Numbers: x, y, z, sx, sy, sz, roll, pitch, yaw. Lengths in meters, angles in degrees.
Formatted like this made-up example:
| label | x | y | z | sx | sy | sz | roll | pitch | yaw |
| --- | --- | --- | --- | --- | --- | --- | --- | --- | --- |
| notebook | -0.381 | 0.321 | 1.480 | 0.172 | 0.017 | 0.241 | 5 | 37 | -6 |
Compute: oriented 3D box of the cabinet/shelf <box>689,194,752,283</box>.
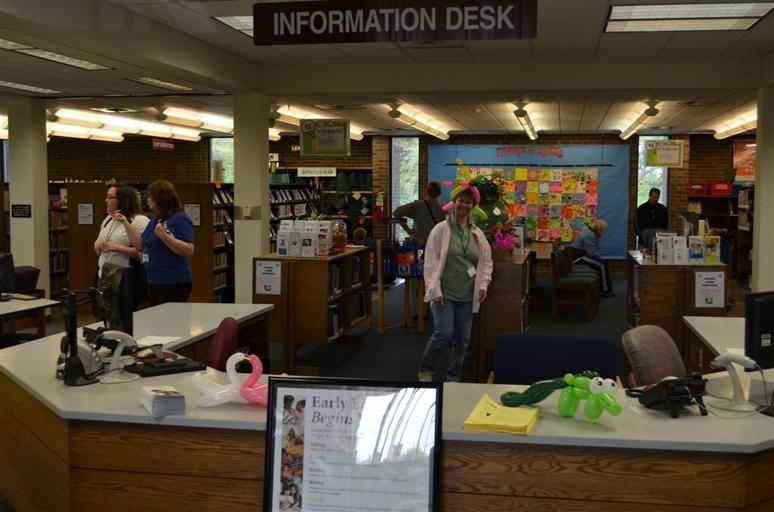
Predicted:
| label | x | y | z | sx | sy | sz | roll | pitch | yaw |
| --- | --- | --- | --- | --- | --- | --- | --- | --- | --- |
| cabinet/shelf | 6.674 | -0.356 | 11.293 | 0.654 | 1.886 | 2.069 | 4 | 7 | 8 |

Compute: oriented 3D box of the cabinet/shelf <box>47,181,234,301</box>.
| label | x | y | z | sx | sy | sz | roll | pitch | yaw |
| --- | --- | --- | --- | --- | --- | --- | --- | --- | --- |
| cabinet/shelf | -3.204 | -0.207 | 7.703 | 2.244 | 1.817 | 0.714 | 0 | 1 | -1 |

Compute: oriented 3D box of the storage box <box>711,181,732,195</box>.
| label | x | y | z | sx | sy | sz | roll | pitch | yaw |
| --- | --- | --- | --- | --- | --- | --- | --- | --- | --- |
| storage box | 8.450 | -1.691 | 14.449 | 0.469 | 0.330 | 0.136 | 1 | 6 | 21 |

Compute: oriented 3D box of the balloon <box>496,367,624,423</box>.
| label | x | y | z | sx | sy | sz | roll | pitch | yaw |
| --- | --- | --- | --- | --- | --- | --- | --- | --- | --- |
| balloon | 0.874 | 0.711 | 2.905 | 0.596 | 0.225 | 0.142 | -7 | -20 | 43 |

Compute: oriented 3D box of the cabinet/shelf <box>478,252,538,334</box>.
| label | x | y | z | sx | sy | sz | roll | pitch | yaw |
| --- | --- | --- | --- | --- | --- | --- | --- | --- | --- |
| cabinet/shelf | 1.425 | 0.455 | 6.814 | 0.414 | 0.729 | 1.289 | 0 | 6 | 13 |

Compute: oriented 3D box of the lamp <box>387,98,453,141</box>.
| label | x | y | z | sx | sy | sz | roll | pitch | yaw |
| --- | --- | --- | --- | --- | --- | --- | --- | --- | --- |
| lamp | 0.853 | -3.166 | 12.777 | 0.375 | 0.391 | 3.667 | 20 | 8 | 26 |

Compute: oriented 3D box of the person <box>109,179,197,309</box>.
| label | x | y | z | sx | sy | sz | roll | pitch | yaw |
| --- | --- | --- | --- | --- | --- | --- | --- | --- | --- |
| person | -2.317 | -0.127 | 5.839 | 0.751 | 1.247 | 0.492 | 4 | 8 | 44 |

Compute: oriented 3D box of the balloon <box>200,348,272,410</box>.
| label | x | y | z | sx | sy | sz | roll | pitch | yaw |
| --- | --- | --- | --- | --- | --- | --- | --- | --- | --- |
| balloon | -0.810 | 0.658 | 3.088 | 0.426 | 0.252 | 0.248 | -4 | -1 | -2 |

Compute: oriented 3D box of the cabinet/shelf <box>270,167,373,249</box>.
| label | x | y | z | sx | sy | sz | roll | pitch | yaw |
| --- | --- | --- | --- | --- | --- | --- | --- | --- | --- |
| cabinet/shelf | -1.380 | -1.116 | 12.397 | 2.278 | 2.052 | 0.748 | -1 | 6 | -1 |

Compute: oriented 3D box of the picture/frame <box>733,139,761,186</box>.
| label | x | y | z | sx | sy | sz | roll | pitch | yaw |
| --- | --- | --- | --- | --- | --- | --- | --- | --- | --- |
| picture/frame | 9.153 | -2.429 | 14.676 | 0.462 | 1.089 | 0.295 | 1 | 6 | 20 |

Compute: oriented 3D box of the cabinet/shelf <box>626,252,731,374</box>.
| label | x | y | z | sx | sy | sz | roll | pitch | yaw |
| --- | --- | --- | --- | --- | --- | --- | --- | --- | --- |
| cabinet/shelf | 2.959 | 0.542 | 5.758 | 0.523 | 1.202 | 1.477 | 0 | 2 | 10 |

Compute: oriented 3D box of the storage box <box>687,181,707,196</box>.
| label | x | y | z | sx | sy | sz | roll | pitch | yaw |
| --- | --- | --- | --- | --- | --- | --- | --- | --- | --- |
| storage box | 7.991 | -1.699 | 14.703 | 0.395 | 0.287 | 0.292 | 3 | 5 | 23 |

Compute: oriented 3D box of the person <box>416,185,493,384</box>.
| label | x | y | z | sx | sy | sz | roll | pitch | yaw |
| --- | --- | --- | --- | --- | --- | --- | --- | --- | --- |
| person | 0.687 | 0.296 | 5.849 | 0.842 | 2.026 | 0.298 | -4 | 6 | -23 |
